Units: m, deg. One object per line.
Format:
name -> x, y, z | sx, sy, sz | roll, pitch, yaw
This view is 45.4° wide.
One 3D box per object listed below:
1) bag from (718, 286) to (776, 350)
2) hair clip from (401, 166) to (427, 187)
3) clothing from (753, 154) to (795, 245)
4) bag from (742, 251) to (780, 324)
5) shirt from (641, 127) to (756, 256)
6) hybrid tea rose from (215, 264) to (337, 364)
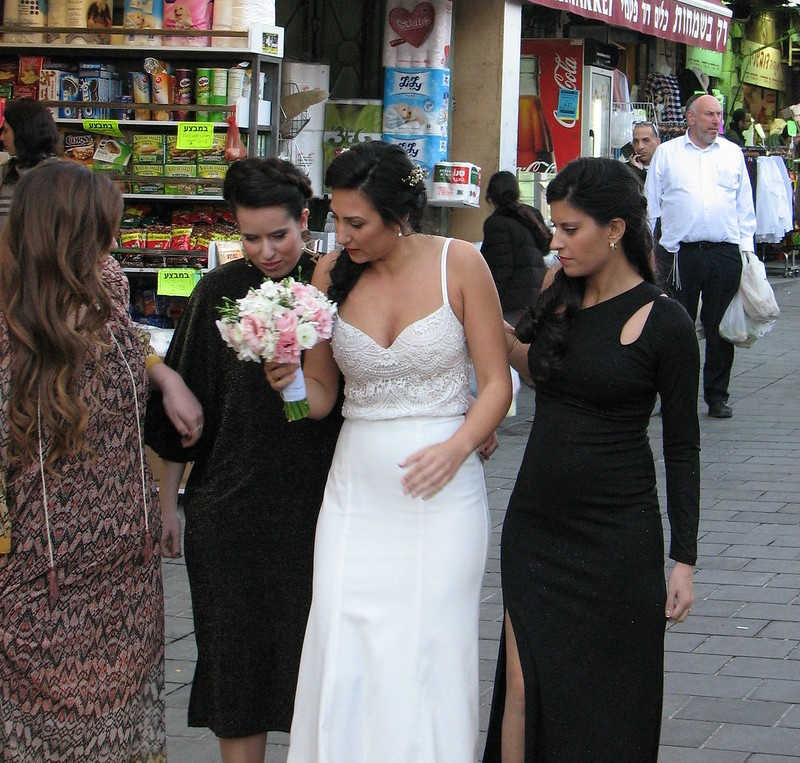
bag -> 2.936, -0.427, 8.109 | 0.392, 0.701, 0.718 | -1, 0, 29
hair clip -> 0.036, -0.537, 2.504 | 0.055, 0.038, 0.099 | 14, -3, 0
clothing -> 5.663, -2.824, 14.758 | 0.438, 1.323, 0.821 | 3, 11, 27
bag -> 2.954, -0.786, 7.968 | 0.283, 0.586, 0.488 | 3, 11, 27
shirt -> 2.493, -1.606, 8.100 | 0.966, 0.965, 0.555 | 0, 17, 10
hybrid tea rose -> -0.321, -0.150, 2.393 | 0.263, 0.210, 0.211 | 4, 12, 32
